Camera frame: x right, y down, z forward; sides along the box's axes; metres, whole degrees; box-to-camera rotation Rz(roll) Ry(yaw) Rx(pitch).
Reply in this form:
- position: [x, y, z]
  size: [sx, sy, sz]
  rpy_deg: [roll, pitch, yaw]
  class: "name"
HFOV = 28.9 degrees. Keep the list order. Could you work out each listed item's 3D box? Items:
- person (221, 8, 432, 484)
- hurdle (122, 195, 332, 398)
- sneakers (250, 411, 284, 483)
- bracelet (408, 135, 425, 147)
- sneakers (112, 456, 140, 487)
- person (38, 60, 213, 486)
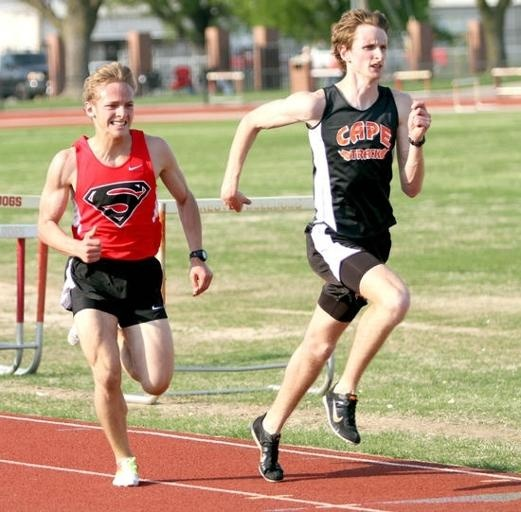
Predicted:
- position: [0.261, -0.058, 4.325]
  size: [0.783, 1.989, 0.700]
  rpy_deg: [0, 10, 2]
  class: "person"
- position: [-0.077, 0.300, 6.089]
  size: [1.162, 0.983, 0.619]
  rpy_deg: [9, -10, 2]
  class: "hurdle"
- position: [0.032, 0.823, 4.315]
  size: [0.133, 0.256, 0.243]
  rpy_deg: [-1, 10, -2]
  class: "sneakers"
- position: [0.659, -0.495, 4.269]
  size: [0.047, 0.022, 0.053]
  rpy_deg: [2, -21, -1]
  class: "bracelet"
- position: [-0.563, 0.886, 4.199]
  size: [0.116, 0.147, 0.124]
  rpy_deg: [-2, 10, -10]
  class: "sneakers"
- position: [-0.520, 0.063, 4.272]
  size: [0.717, 1.741, 0.541]
  rpy_deg: [-5, 11, -25]
  class: "person"
